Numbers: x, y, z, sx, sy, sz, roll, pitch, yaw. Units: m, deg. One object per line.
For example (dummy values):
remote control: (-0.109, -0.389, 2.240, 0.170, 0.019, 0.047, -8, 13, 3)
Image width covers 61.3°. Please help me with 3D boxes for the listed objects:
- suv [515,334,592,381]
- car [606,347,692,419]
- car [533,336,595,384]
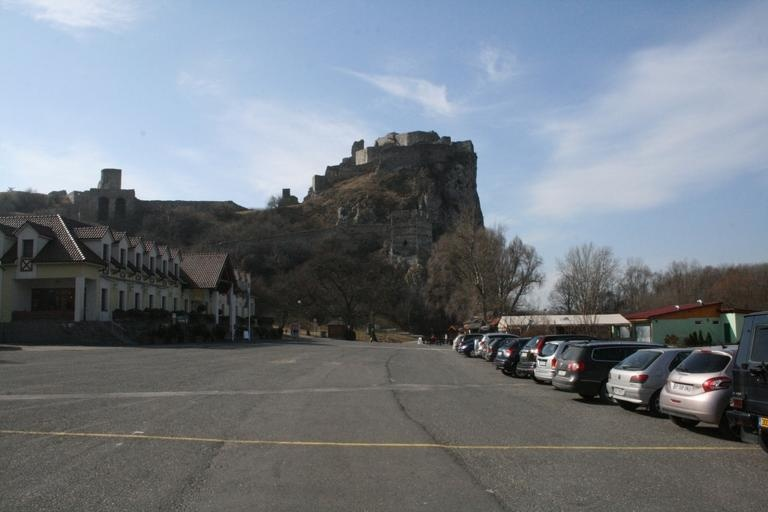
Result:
suv: (6.556, 4.029, 25.517, 3.393, 1.287, 1.570, -2, 0, -36)
car: (7.790, 3.386, 18.586, 2.403, 1.199, 1.280, -4, -1, -16)
car: (6.884, 3.819, 24.236, 2.791, 1.253, 1.384, -4, 0, -29)
